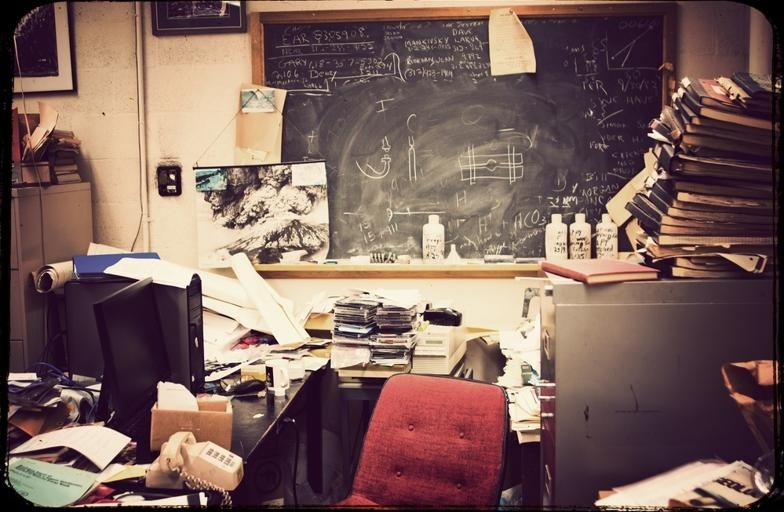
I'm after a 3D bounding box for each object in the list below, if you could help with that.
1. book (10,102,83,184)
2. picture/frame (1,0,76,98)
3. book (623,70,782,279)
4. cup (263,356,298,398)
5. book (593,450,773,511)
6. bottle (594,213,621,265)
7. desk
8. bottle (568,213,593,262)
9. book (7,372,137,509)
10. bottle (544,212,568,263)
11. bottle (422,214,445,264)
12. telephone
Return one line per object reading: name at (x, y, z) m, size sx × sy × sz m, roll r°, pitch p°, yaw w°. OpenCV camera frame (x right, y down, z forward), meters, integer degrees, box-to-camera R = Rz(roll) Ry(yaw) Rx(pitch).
book at (-1.920, -0.593, 3.414) m, size 0.378 × 0.157 × 0.474 m, roll 1°, pitch 34°, yaw -7°
picture/frame at (-2.055, -1.229, 3.643) m, size 0.343 × 0.521 × 0.098 m, roll 1°, pitch 4°, yaw 8°
book at (1.081, -0.345, 2.711) m, size 0.708 × 0.822 × 0.674 m, roll 1°, pitch 5°, yaw 3°
cup at (-0.511, 0.540, 2.748) m, size 0.105 × 0.144 × 0.154 m, roll 0°, pitch 4°, yaw -20°
book at (1.068, 0.807, 2.216) m, size 0.243 × 0.061 × 0.257 m, roll -14°, pitch 0°, yaw -9°
bottle at (1.208, -0.117, 3.489) m, size 0.133 × 0.251 × 0.154 m, roll 2°, pitch 4°, yaw 17°
desk at (-0.737, 0.712, 2.934) m, size 0.678 × 0.775 × 1.249 m, roll 1°, pitch -1°, yaw 1°
bottle at (1.061, -0.121, 3.508) m, size 0.122 × 0.255 × 0.068 m, roll 1°, pitch 4°, yaw 6°
book at (-1.187, 0.747, 2.233) m, size 0.368 × 0.190 × 0.283 m, roll 1°, pitch 3°, yaw 2°
bottle at (0.935, -0.118, 3.526) m, size 0.127 × 0.264 × 0.121 m, roll 1°, pitch 4°, yaw 0°
bottle at (0.233, -0.106, 3.569) m, size 0.118 × 0.265 × 0.070 m, roll 1°, pitch 4°, yaw 0°
telephone at (-0.718, 0.743, 2.234) m, size 0.311 × 0.137 × 0.252 m, roll 7°, pitch 5°, yaw 0°
